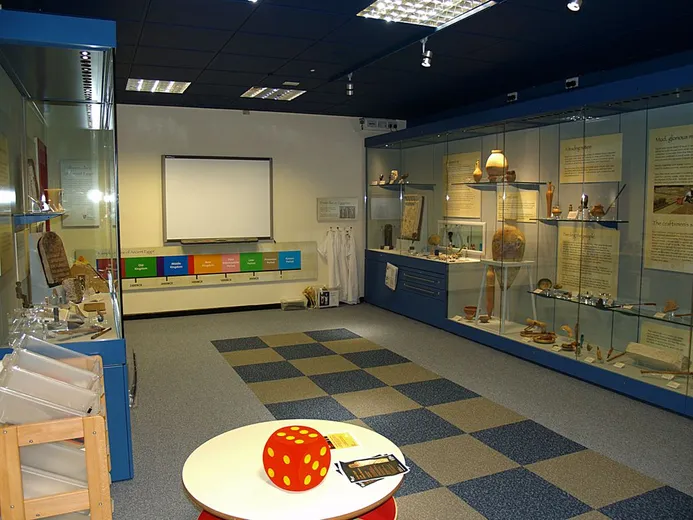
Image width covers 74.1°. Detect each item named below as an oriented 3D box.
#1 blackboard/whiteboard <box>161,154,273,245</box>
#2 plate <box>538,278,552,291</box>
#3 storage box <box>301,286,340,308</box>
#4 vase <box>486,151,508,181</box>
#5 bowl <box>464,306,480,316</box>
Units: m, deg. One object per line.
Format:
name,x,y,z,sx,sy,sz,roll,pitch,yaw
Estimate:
blackboard/whiteboard,-2.180,-1.046,8.013,1.928,1.402,0.047,3,5,12
plate,2.373,0.296,5.518,0.009,0.162,0.232,-5,10,-26
storage box,-0.502,0.687,8.621,0.665,0.373,0.324,-1,9,-2
vase,1.971,-1.230,5.986,0.182,0.400,0.290,-9,12,-42
bowl,1.770,0.711,6.461,0.130,0.074,0.130,0,11,0
